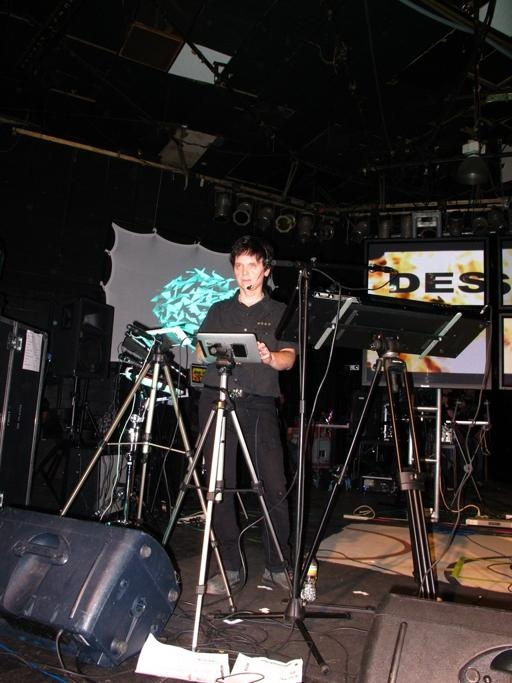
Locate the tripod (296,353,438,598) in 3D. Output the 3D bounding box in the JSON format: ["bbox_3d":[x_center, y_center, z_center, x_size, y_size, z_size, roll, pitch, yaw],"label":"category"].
[{"bbox_3d":[0.797,0.955,4.076,0.800,1.817,0.820,11,-36,3],"label":"tripod"}]

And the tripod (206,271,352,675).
[{"bbox_3d":[0.154,0.411,2.107,0.460,0.999,0.623,4,-2,10],"label":"tripod"}]

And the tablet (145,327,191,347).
[{"bbox_3d":[-0.387,-0.027,2.683,0.135,0.036,0.128,2,-20,17],"label":"tablet"}]

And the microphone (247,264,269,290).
[{"bbox_3d":[0.007,-0.305,2.690,0.080,0.122,0.114,5,-31,7],"label":"microphone"}]
